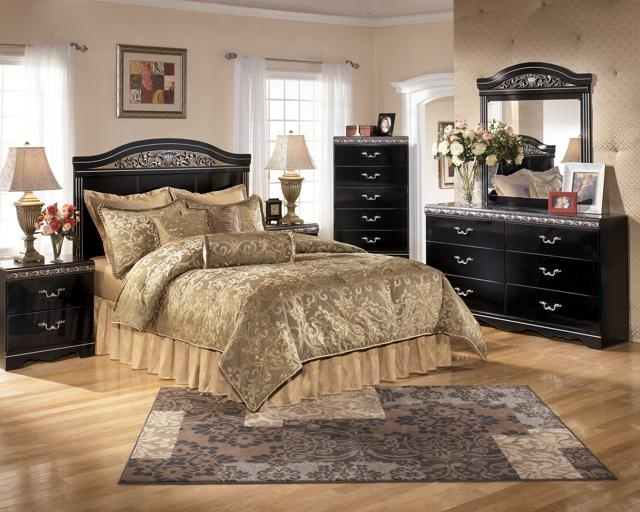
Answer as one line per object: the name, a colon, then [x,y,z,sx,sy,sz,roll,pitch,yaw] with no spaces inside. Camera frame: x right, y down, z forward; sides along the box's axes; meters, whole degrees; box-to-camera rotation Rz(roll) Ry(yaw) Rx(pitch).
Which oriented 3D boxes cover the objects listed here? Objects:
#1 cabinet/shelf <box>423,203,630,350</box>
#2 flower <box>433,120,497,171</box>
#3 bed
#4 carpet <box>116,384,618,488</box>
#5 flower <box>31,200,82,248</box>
cabinet/shelf: [2.132,0.136,5.097,0.880,1.128,2.241,-6,8,-21]
flower: [1.539,-1.071,5.271,0.519,0.355,0.478,-6,17,8]
bed: [-0.633,-0.135,4.400,2.238,1.677,2.988,-9,14,-42]
carpet: [0.184,0.928,2.780,2.380,0.027,1.195,0,4,0]
flower: [-2.128,-0.290,4.167,0.382,0.311,0.384,5,8,43]
